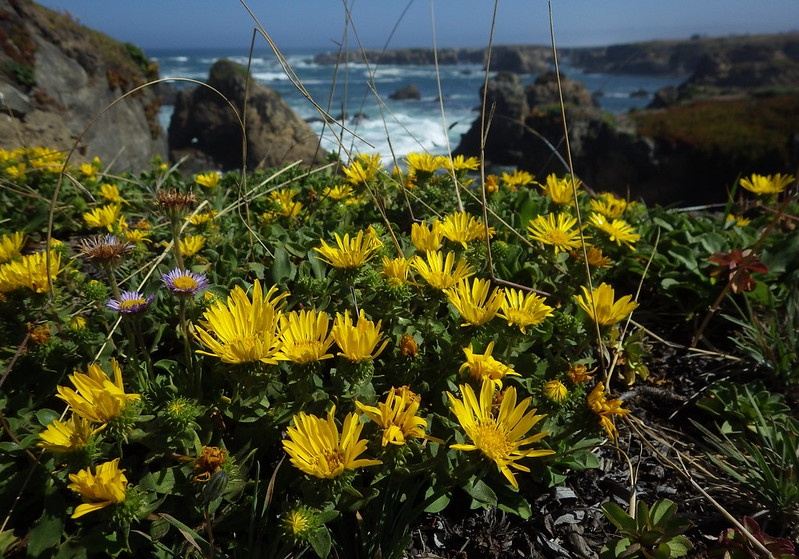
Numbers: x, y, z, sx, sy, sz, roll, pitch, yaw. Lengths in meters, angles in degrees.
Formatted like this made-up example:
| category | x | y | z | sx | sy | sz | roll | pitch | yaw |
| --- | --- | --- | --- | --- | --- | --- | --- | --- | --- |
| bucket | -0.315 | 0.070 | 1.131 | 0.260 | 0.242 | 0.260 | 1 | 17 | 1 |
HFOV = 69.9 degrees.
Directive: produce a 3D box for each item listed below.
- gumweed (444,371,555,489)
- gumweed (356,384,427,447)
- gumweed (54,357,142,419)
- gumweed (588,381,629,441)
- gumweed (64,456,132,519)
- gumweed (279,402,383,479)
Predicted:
| category | x | y | z | sx | sy | sz | roll | pitch | yaw |
| --- | --- | --- | --- | --- | --- | --- | --- | --- | --- |
| gumweed | 0.403 | 0.689 | 2.510 | 0.458 | 0.184 | 0.488 | 19 | 45 | -6 |
| gumweed | -0.049 | 0.571 | 2.453 | 0.275 | 0.108 | 0.275 | 19 | -3 | 7 |
| gumweed | -1.275 | 0.493 | 2.431 | 0.253 | 0.175 | 0.299 | -10 | 30 | -2 |
| gumweed | 0.928 | 0.589 | 2.567 | 0.153 | 0.248 | 0.112 | 2 | 31 | 7 |
| gumweed | -1.264 | 0.873 | 2.409 | 0.142 | 0.259 | 0.268 | 34 | 44 | -8 |
| gumweed | -0.277 | 0.687 | 2.349 | 0.358 | 0.196 | 0.423 | -4 | 12 | -14 |
